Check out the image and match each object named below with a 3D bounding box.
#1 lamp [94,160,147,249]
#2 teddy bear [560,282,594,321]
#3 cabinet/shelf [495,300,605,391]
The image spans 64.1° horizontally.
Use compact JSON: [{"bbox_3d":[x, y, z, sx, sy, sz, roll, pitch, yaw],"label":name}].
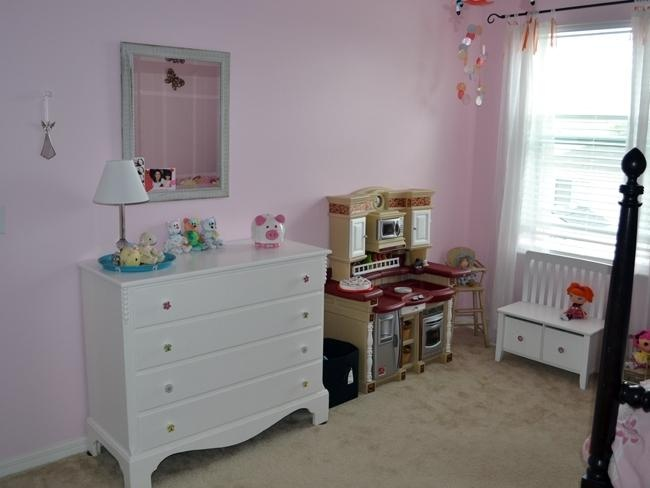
[{"bbox_3d":[-1.260,-0.240,3.180,0.279,0.550,0.393,-9,17,-33],"label":"lamp"},{"bbox_3d":[2.203,0.497,4.553,0.240,0.320,0.250,5,10,-15],"label":"teddy bear"},{"bbox_3d":[1.971,0.727,4.522,0.991,0.658,0.536,14,21,38],"label":"cabinet/shelf"}]
